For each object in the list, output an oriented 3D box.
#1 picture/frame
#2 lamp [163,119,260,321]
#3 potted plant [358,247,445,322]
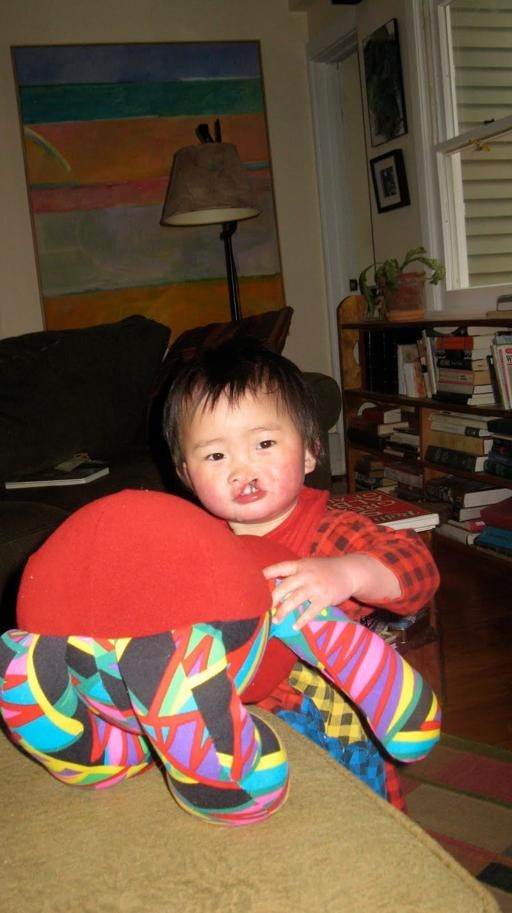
[{"bbox_3d":[0.613,-1.569,3.158,0.125,0.802,0.366,-3,9,-9],"label":"picture/frame"},{"bbox_3d":[-0.211,-1.165,3.150,0.445,1.025,0.900,-3,9,-7],"label":"lamp"},{"bbox_3d":[0.616,-0.734,2.892,0.304,0.372,0.392,-6,8,-40],"label":"potted plant"}]
